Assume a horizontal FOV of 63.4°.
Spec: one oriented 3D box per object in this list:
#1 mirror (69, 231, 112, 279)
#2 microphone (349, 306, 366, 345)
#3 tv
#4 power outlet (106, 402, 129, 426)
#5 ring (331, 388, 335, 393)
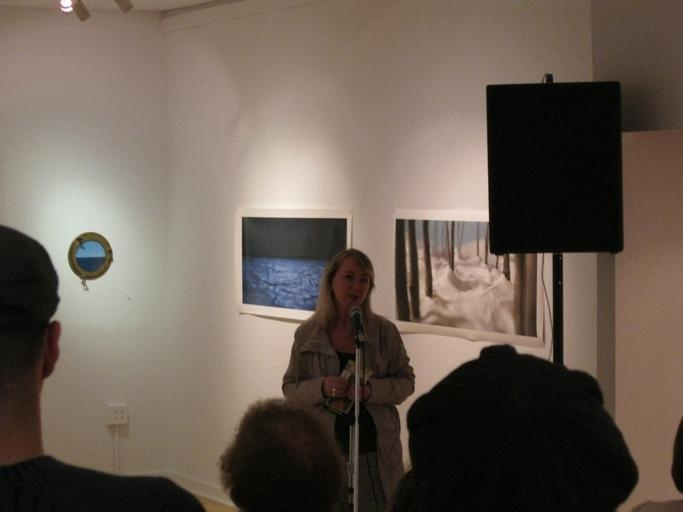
[{"bbox_3d":[-2.073,-0.011,4.536,0.312,0.422,0.029,-7,4,-32],"label":"mirror"},{"bbox_3d":[0.077,0.311,2.522,0.049,0.053,0.194,-4,44,-1],"label":"microphone"},{"bbox_3d":[0.991,-0.414,2.569,0.703,1.015,0.097,0,-1,-2],"label":"tv"},{"bbox_3d":[-1.856,1.307,4.585,0.161,0.182,0.168,3,-11,4],"label":"power outlet"},{"bbox_3d":[-0.041,0.691,2.829,0.015,0.026,0.016,-3,-10,-1],"label":"ring"}]
